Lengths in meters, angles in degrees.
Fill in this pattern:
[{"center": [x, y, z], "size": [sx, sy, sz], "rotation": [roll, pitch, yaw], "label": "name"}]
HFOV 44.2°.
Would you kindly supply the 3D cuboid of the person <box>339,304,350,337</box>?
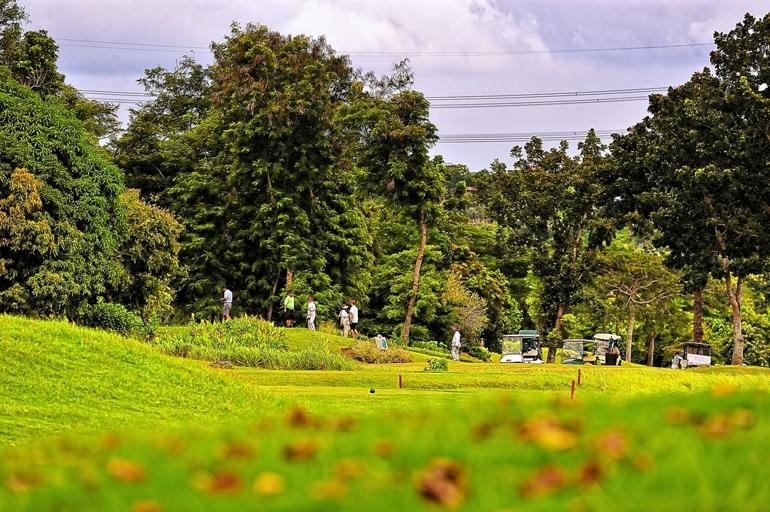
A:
[{"center": [-1.826, 2.978, 43.703], "size": [0.453, 1.434, 1.317], "rotation": [8, -7, -1], "label": "person"}]
